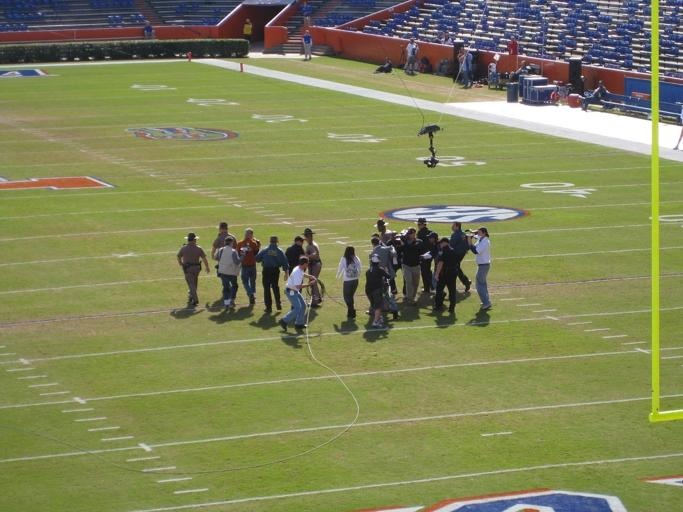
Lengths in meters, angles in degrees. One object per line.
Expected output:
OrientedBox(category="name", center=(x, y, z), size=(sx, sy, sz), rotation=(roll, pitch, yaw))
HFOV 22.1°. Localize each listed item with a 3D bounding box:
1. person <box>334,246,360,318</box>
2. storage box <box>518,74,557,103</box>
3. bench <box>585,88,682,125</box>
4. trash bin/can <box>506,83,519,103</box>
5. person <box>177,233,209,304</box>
OrientedBox(category="person", center=(0.124, 0.583, 40.849), size=(0.671, 1.538, 0.455), rotation=(-1, 16, -11))
OrientedBox(category="storage box", center=(7.169, -6.173, 64.991), size=(0.836, 1.009, 1.259), rotation=(-7, 16, -23))
OrientedBox(category="bench", center=(10.053, -5.360, 61.277), size=(0.847, 0.937, 5.756), rotation=(-8, 14, -26))
OrientedBox(category="trash bin/can", center=(6.357, -6.154, 65.557), size=(0.420, 0.720, 0.647), rotation=(1, 15, 8))
OrientedBox(category="person", center=(-3.546, 0.306, 41.590), size=(0.671, 1.709, 0.940), rotation=(-3, 16, -5))
